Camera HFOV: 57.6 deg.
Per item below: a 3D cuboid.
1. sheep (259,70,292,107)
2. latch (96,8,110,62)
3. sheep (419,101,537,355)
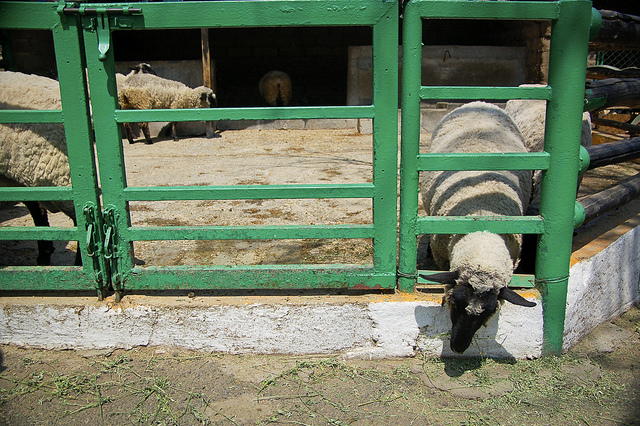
[{"bbox_3d":[-1.127,-3.086,14.390,0.734,0.844,0.541,12,21,42],"label":"sheep"},{"bbox_3d":[-1.459,-1.207,3.907,0.086,0.335,0.094,-6,17,-12],"label":"latch"},{"bbox_3d":[1.291,0.053,4.698,0.942,1.583,1.960,1,14,9],"label":"sheep"}]
